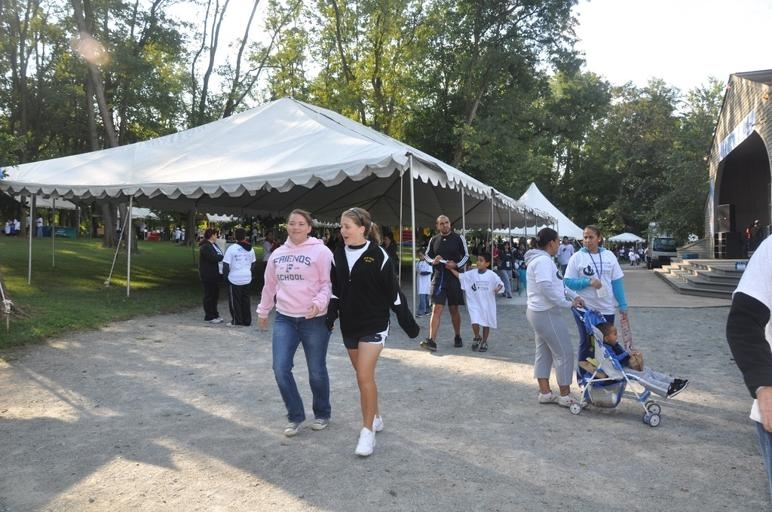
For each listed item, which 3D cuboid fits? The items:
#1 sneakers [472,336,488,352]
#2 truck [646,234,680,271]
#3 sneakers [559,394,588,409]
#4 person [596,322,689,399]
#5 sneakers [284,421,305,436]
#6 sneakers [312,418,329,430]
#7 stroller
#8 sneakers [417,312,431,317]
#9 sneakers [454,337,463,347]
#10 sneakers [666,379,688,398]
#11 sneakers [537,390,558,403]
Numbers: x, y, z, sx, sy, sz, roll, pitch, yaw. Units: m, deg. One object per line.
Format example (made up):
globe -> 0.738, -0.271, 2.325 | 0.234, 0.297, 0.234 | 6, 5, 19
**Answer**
sneakers -> 1.876, 1.747, 12.956 | 0.289, 0.206, 0.528 | -2, -4, 10
truck -> 16.907, -0.239, 39.576 | 1.822, 1.811, 3.322 | 2, 5, 22
sneakers -> 2.862, 2.224, 9.979 | 0.451, 0.193, 0.176 | 0, 7, 11
person -> 3.842, 1.548, 9.957 | 1.380, 0.643, 0.504 | 22, 25, 34
sneakers -> -1.289, 2.461, 9.333 | 0.161, 0.184, 0.393 | 6, 5, 38
sneakers -> -0.964, 2.455, 9.458 | 0.097, 0.122, 0.294 | -3, -16, 21
stroller -> 3.722, 1.697, 10.062 | 1.490, 1.525, 0.898 | 5, -1, 20
sneakers -> 0.946, 1.497, 16.620 | 0.131, 0.170, 0.410 | -23, -21, 40
sneakers -> 1.466, 1.747, 13.263 | 0.154, 0.181, 0.464 | -1, -6, 8
sneakers -> 4.427, 1.986, 9.824 | 0.219, 0.278, 0.455 | 6, 5, 33
sneakers -> 2.577, 2.225, 10.264 | 0.331, 0.141, 0.125 | 5, 13, -25
